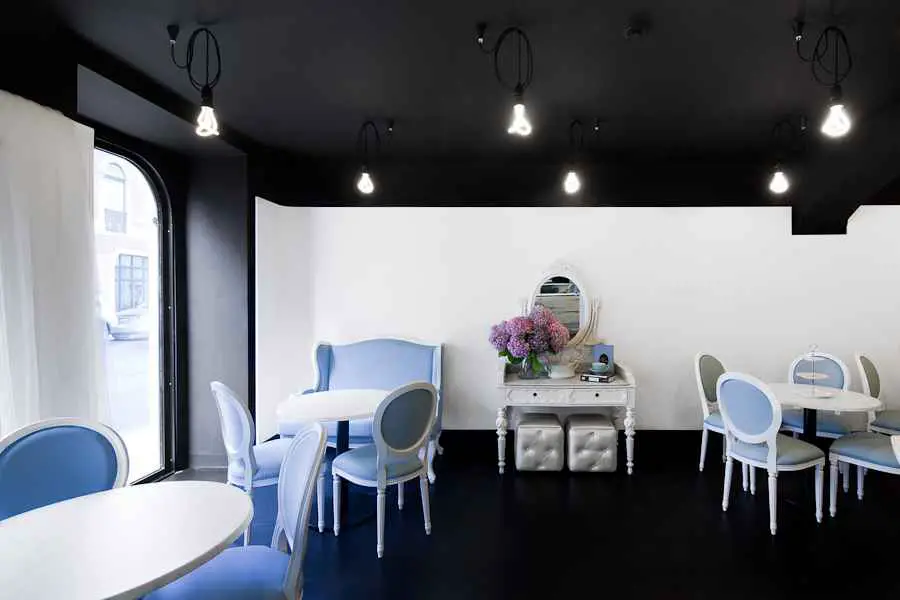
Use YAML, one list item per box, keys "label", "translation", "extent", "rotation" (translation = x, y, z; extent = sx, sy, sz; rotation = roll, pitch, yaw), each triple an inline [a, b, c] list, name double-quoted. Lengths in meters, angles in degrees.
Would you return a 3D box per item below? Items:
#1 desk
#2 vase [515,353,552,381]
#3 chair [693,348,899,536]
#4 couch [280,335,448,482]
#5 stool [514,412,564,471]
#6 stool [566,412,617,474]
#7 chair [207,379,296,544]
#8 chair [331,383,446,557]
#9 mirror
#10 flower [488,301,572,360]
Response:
- label: "desk"
  translation: [1.154, 1.123, 6.806]
  extent: [1.363, 1.075, 1.080]
  rotation: [0, 5, 8]
- label: "vase"
  translation: [0.837, 0.662, 6.547]
  extent: [0.240, 0.278, 0.260]
  rotation: [0, 0, -5]
- label: "chair"
  translation: [2.868, 1.214, 5.802]
  extent: [1.344, 1.388, 1.225]
  rotation: [0, -2, 35]
- label: "couch"
  translation: [-0.801, 1.007, 6.600]
  extent: [1.540, 1.261, 0.903]
  rotation: [-2, -2, 23]
- label: "stool"
  translation: [0.865, 1.393, 6.471]
  extent: [0.435, 0.424, 0.459]
  rotation: [-1, 0, 2]
- label: "stool"
  translation: [1.338, 1.373, 6.316]
  extent: [0.433, 0.422, 0.457]
  rotation: [0, -1, 1]
- label: "chair"
  translation: [-1.485, 1.243, 5.401]
  extent: [0.646, 1.232, 0.736]
  rotation: [4, 10, 40]
- label: "chair"
  translation: [-0.519, 1.287, 5.428]
  extent: [0.688, 1.407, 0.758]
  rotation: [-9, 13, -43]
- label: "mirror"
  translation: [1.159, 0.130, 6.814]
  extent: [0.762, 0.981, 0.111]
  rotation: [1, 7, 3]
- label: "flower"
  translation: [0.797, 0.371, 6.627]
  extent: [0.703, 0.405, 0.570]
  rotation: [-6, -1, -2]
